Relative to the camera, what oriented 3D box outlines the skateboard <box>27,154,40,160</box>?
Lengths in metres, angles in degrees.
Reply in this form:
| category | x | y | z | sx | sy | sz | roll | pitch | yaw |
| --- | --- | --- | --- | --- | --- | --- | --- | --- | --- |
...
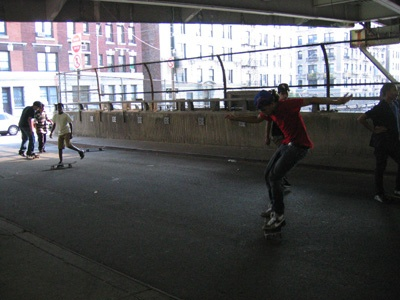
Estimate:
| category | x | y | z | sx | sy | sz | roll | pitch | yaw |
| --- | --- | --- | --- | --- | --- | --- | --- | --- | --- |
| skateboard | -7.161 | 0.290 | 14.601 | 0.406 | 0.246 | 0.176 | 6 | -8 | -33 |

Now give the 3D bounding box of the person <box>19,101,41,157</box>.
| category | x | y | z | sx | sy | sz | roll | pitch | yaw |
| --- | --- | --- | --- | --- | --- | --- | --- | --- | --- |
| person | -7.462 | -0.897 | 14.825 | 0.920 | 2.388 | 1.426 | -8 | 11 | -31 |

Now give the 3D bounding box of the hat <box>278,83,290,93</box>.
| category | x | y | z | sx | sy | sz | roll | pitch | yaw |
| --- | --- | --- | --- | --- | --- | --- | --- | --- | --- |
| hat | 2.074 | -1.533 | 8.433 | 0.185 | 0.251 | 0.257 | 13 | 26 | 37 |

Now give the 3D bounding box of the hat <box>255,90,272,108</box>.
| category | x | y | z | sx | sy | sz | roll | pitch | yaw |
| --- | --- | --- | --- | --- | --- | --- | --- | --- | --- |
| hat | 1.114 | -0.910 | 5.927 | 0.220 | 0.289 | 0.303 | 9 | 42 | 32 |

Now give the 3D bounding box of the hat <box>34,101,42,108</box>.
| category | x | y | z | sx | sy | sz | roll | pitch | yaw |
| --- | --- | --- | --- | --- | --- | --- | --- | --- | --- |
| hat | -7.149 | -2.024 | 14.953 | 0.290 | 0.284 | 0.224 | -3 | 8 | -42 |

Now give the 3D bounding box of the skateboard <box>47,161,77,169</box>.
| category | x | y | z | sx | sy | sz | roll | pitch | yaw |
| --- | --- | --- | --- | --- | --- | --- | --- | --- | --- |
| skateboard | -5.035 | 0.569 | 12.469 | 0.990 | 0.174 | 0.296 | -4 | 19 | -43 |
